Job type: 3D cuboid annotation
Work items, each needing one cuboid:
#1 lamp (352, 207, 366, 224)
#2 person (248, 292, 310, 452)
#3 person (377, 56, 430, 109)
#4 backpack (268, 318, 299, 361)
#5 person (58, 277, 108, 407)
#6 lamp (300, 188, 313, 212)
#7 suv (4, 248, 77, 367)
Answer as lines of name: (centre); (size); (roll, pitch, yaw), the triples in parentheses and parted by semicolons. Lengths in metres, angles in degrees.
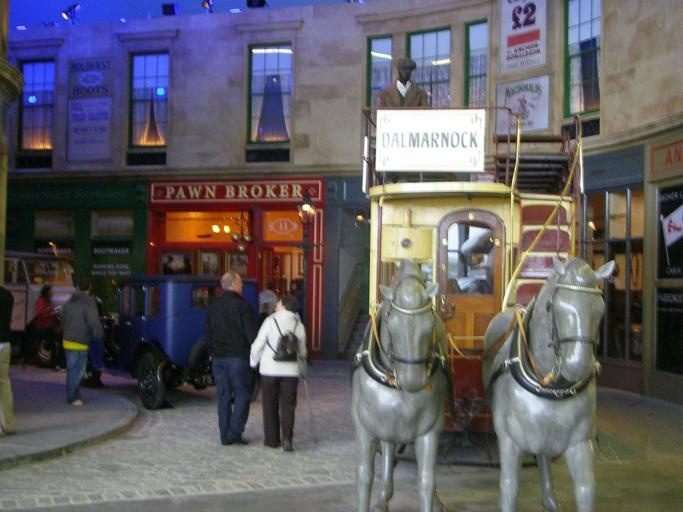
lamp: (0.490, -1.165, 27.272); (0.321, 0.337, 0.471); (10, -3, -8)
person: (-1.189, 2.082, 17.165); (0.912, 2.729, 0.750); (2, 6, 21)
person: (1.159, -3.125, 17.846); (1.034, 1.240, 0.631); (1, -11, 4)
backpack: (-0.999, 1.483, 17.022); (0.468, 0.799, 0.463); (-6, 3, -23)
person: (-5.444, 1.769, 19.765); (0.818, 2.513, 1.107); (-2, 6, -19)
lamp: (-0.906, -1.421, 24.677); (0.315, 0.570, 0.635); (0, 6, -2)
suv: (-8.997, 1.350, 26.589); (2.779, 2.866, 2.395); (-1, -1, 11)
